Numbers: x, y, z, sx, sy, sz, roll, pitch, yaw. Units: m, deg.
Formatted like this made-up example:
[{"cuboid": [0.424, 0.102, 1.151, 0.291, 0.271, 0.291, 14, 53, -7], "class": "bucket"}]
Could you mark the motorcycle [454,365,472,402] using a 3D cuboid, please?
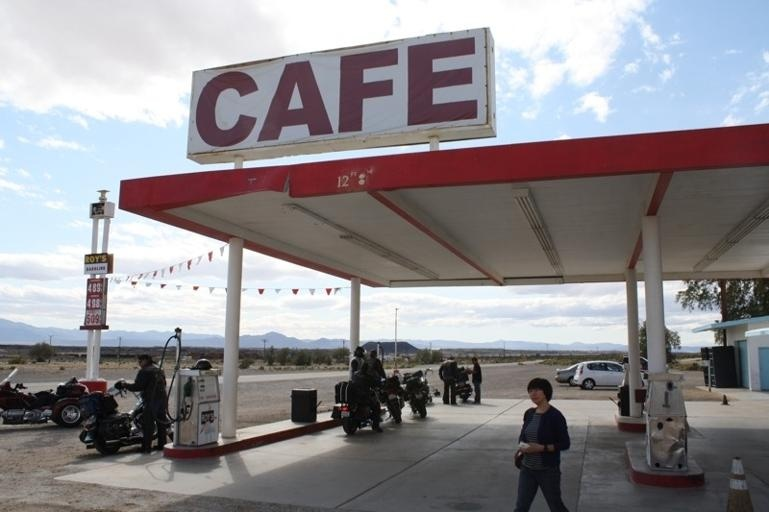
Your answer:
[{"cuboid": [3.355, 5.487, 22.687, 0.649, 1.120, 1.878, -1, -5, 12], "class": "motorcycle"}]

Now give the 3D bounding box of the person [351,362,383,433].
[{"cuboid": [-0.514, 3.955, 14.795, 0.356, 2.002, 1.151, -9, -12, 35], "class": "person"}]

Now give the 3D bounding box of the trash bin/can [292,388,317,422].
[{"cuboid": [-2.425, 4.332, 15.209, 0.904, 1.007, 0.677, 0, -9, 16], "class": "trash bin/can"}]

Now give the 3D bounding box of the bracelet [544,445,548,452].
[{"cuboid": [2.101, 2.535, 6.884, 0.022, 0.110, 0.032, -2, 10, 6], "class": "bracelet"}]

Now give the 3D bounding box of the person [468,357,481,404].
[{"cuboid": [3.768, 5.165, 21.549, 0.342, 1.684, 1.087, -3, -10, 7], "class": "person"}]

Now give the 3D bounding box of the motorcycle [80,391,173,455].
[{"cuboid": [-6.010, 3.927, 12.550, 1.355, 1.101, 1.834, -6, -6, 21], "class": "motorcycle"}]

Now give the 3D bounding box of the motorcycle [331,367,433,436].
[{"cuboid": [0.030, 4.442, 16.009, 1.589, 1.730, 3.414, -4, -5, 29], "class": "motorcycle"}]

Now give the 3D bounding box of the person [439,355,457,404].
[{"cuboid": [2.653, 5.124, 21.505, 0.636, 1.808, 0.923, -3, -10, 5], "class": "person"}]

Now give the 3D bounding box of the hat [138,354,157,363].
[{"cuboid": [-5.405, 2.389, 12.116, 0.291, 0.289, 0.185, 2, -5, -4], "class": "hat"}]

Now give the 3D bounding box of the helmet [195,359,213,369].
[{"cuboid": [-4.078, 2.495, 12.018, 0.354, 0.231, 0.268, 6, -8, -14], "class": "helmet"}]
